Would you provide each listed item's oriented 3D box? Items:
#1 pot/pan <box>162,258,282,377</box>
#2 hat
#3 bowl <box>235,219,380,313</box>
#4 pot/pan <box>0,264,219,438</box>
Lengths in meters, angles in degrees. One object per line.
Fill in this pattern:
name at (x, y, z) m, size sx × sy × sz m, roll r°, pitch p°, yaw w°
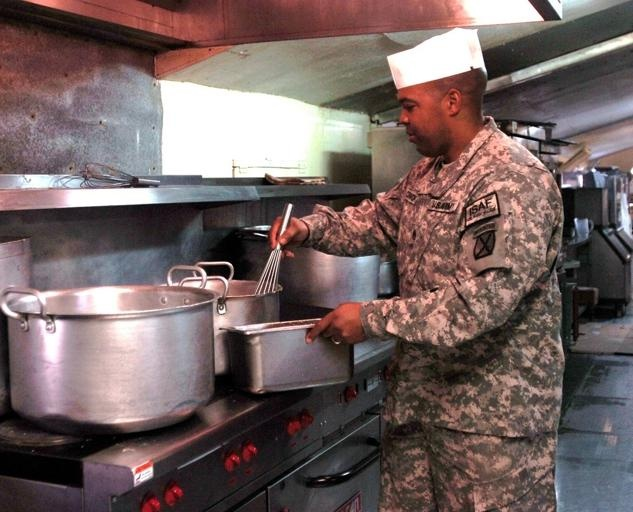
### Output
pot/pan at (-0.231, 0.156, 1.708) m, size 0.379 × 0.314 × 0.344 m, roll 0°, pitch 4°, yaw 4°
hat at (0.318, -0.517, 1.533) m, size 0.205 × 0.097 × 0.195 m, roll -18°, pitch 9°, yaw -12°
bowl at (-0.066, 0.032, 2.239) m, size 0.440 × 0.189 × 0.345 m, roll 4°, pitch 3°, yaw 34°
pot/pan at (-0.487, 0.216, 1.331) m, size 0.408 × 0.256 × 0.469 m, roll 1°, pitch 1°, yaw 32°
